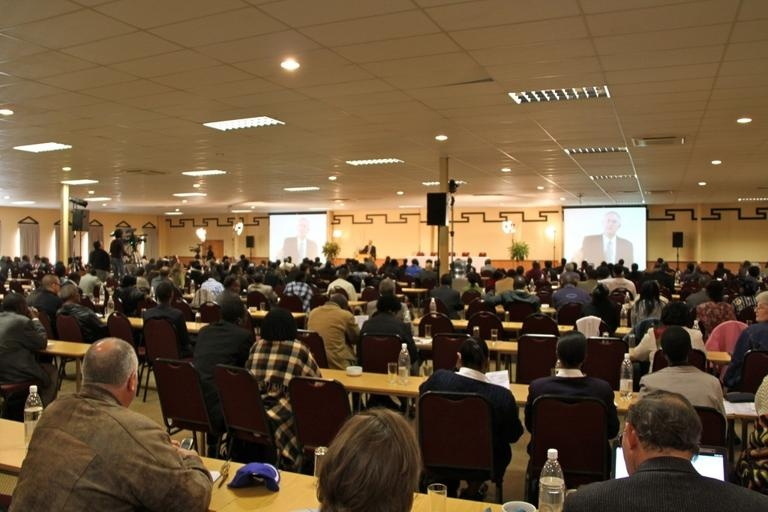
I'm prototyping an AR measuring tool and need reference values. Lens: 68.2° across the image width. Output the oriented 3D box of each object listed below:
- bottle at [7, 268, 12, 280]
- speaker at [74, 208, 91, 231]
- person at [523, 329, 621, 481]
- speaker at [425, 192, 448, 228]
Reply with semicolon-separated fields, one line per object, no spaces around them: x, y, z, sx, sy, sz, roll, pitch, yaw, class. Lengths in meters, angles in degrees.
-11.368;0.550;17.127;0.150;0.287;1.358;2;-2;-34;bottle
-8.261;-0.991;15.419;0.343;0.569;0.413;2;-1;-31;speaker
1.404;1.269;4.414;0.758;1.317;0.696;2;4;5;person
1.103;-0.952;11.613;0.400;0.441;0.455;1;-1;7;speaker
